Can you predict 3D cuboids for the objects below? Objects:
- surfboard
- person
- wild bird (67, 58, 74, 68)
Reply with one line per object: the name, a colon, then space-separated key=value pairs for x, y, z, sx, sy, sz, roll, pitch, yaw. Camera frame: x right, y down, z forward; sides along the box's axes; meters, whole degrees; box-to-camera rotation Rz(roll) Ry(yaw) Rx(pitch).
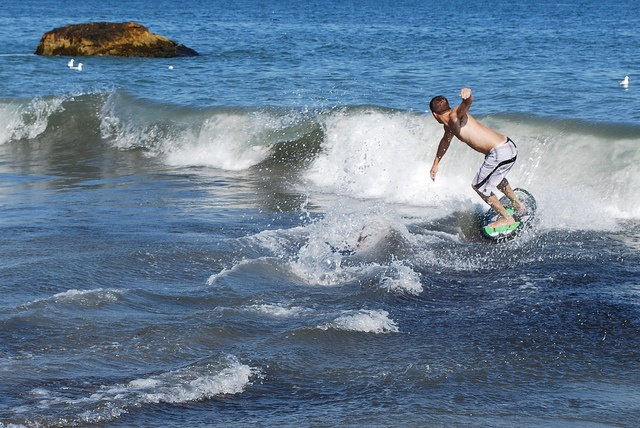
surfboard: x=3.363 y=0.050 z=16.843 sx=1.172 sy=0.199 sz=0.717 roll=-45 pitch=58 yaw=-11
person: x=2.749 y=-0.990 z=16.494 sx=1.586 sy=2.527 sz=0.716 roll=3 pitch=28 yaw=9
wild bird: x=-8.953 y=-5.432 z=34.740 sx=0.348 sy=0.285 sz=0.836 roll=-7 pitch=7 yaw=-8
